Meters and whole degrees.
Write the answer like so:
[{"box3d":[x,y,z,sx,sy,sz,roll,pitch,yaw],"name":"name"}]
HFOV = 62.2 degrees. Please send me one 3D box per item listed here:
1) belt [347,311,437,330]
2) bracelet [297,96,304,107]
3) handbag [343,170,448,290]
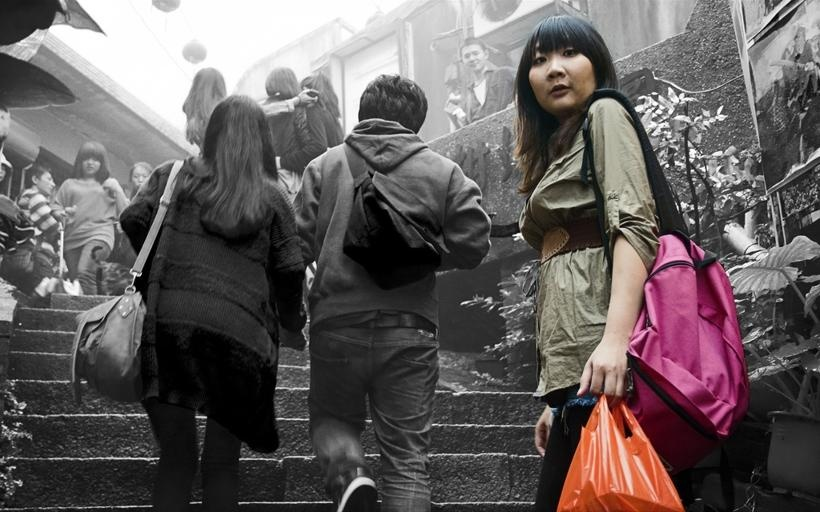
[{"box3d":[-0.112,0.381,4.014,0.523,0.099,0.064,4,-13,-16],"name":"belt"},{"box3d":[-1.150,-1.597,6.999,0.065,0.087,0.087,1,-8,-16],"name":"bracelet"},{"box3d":[-0.142,-0.142,4.167,0.525,0.633,0.247,-43,-1,8],"name":"handbag"}]
